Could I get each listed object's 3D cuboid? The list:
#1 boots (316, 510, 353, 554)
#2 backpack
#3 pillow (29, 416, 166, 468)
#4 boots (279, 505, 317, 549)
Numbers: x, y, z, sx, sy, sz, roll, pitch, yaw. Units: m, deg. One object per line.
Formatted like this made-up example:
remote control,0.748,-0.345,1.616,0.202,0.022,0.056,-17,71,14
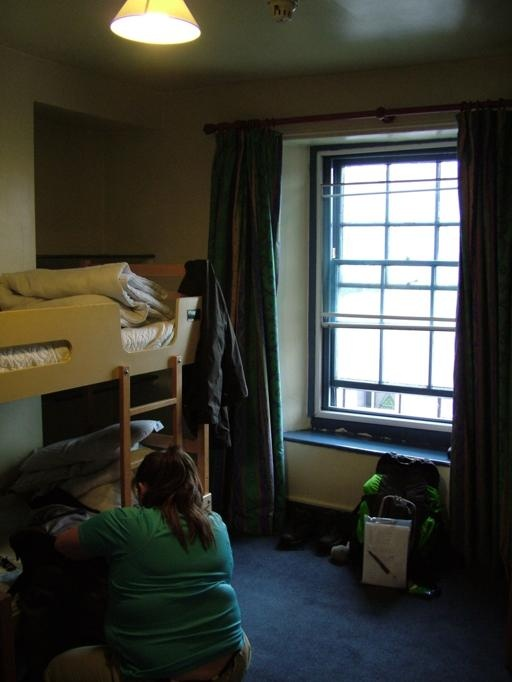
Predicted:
boots,0.406,0.973,2.821,0.092,0.139,0.302,0,-5,22
backpack,0.656,0.817,2.524,0.406,0.454,0.457,2,6,22
pillow,-0.677,0.422,2.144,0.257,0.111,0.274,-13,-7,6
boots,0.249,0.981,2.842,0.243,0.127,0.088,-1,6,-40
